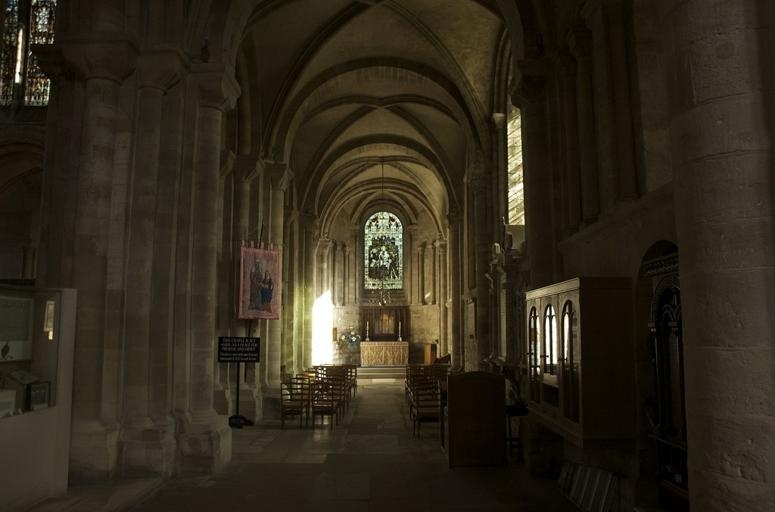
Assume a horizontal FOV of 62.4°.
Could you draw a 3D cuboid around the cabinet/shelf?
[{"bbox_3d":[2.747,1.477,8.999,0.931,2.227,2.666,0,-8,2],"label":"cabinet/shelf"}]
